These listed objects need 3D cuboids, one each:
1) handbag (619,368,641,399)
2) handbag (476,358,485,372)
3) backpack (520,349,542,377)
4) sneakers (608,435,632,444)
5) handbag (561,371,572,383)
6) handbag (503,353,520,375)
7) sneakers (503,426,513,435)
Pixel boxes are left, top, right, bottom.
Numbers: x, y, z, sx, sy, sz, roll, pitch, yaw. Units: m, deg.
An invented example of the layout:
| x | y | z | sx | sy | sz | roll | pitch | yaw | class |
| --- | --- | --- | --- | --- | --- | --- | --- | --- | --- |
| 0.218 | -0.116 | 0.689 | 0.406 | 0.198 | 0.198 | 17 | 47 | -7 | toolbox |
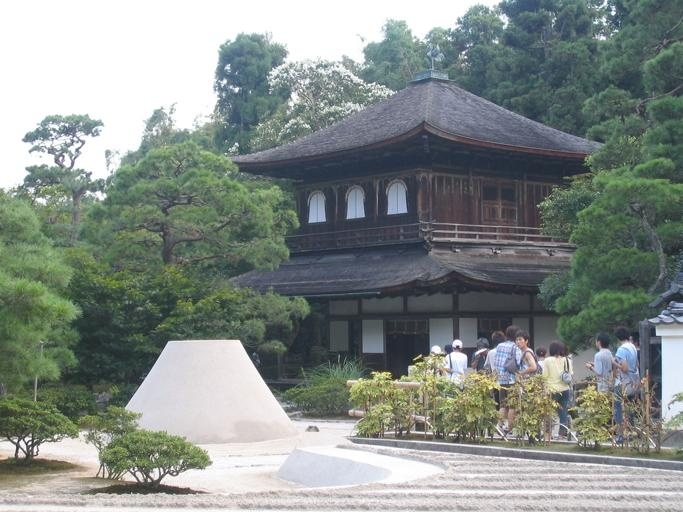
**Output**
| x | y | z | sx | sy | sz | roll | pitch | yaw | class |
| --- | --- | --- | --- | --- | --- | --- | --- | --- | --- |
| 5.508 | 2.448 | 24.191 | 0.528 | 0.503 | 0.217 | 5 | -11 | -26 | handbag |
| 2.885 | 2.235 | 26.095 | 0.228 | 0.255 | 0.223 | 1 | -1 | -21 | handbag |
| 3.631 | 2.092 | 24.483 | 0.287 | 0.468 | 0.427 | -11 | 15 | -34 | backpack |
| 5.198 | 3.451 | 23.695 | 0.263 | 0.110 | 0.302 | 0 | -1 | -33 | sneakers |
| 4.325 | 2.350 | 24.469 | 0.190 | 0.228 | 0.105 | -5 | -8 | -2 | handbag |
| 3.290 | 2.108 | 24.567 | 0.413 | 0.478 | 0.232 | 0 | -1 | 20 | handbag |
| 3.230 | 3.387 | 24.529 | 0.133 | 0.095 | 0.141 | 2 | -6 | -12 | sneakers |
